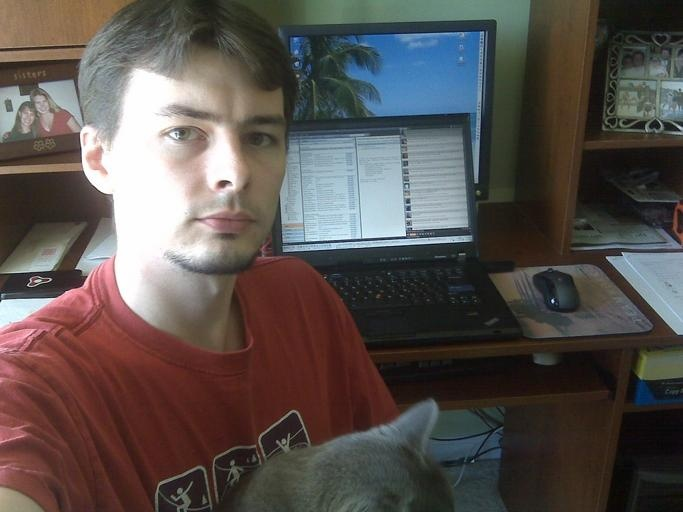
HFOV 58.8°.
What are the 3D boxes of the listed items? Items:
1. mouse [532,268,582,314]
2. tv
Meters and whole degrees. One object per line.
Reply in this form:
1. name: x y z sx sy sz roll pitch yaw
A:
1. mouse: 0.524 0.072 1.480 0.083 0.051 0.153 -8 30 -2
2. tv: 0.111 -0.365 1.845 0.630 0.580 0.441 -2 12 -5
